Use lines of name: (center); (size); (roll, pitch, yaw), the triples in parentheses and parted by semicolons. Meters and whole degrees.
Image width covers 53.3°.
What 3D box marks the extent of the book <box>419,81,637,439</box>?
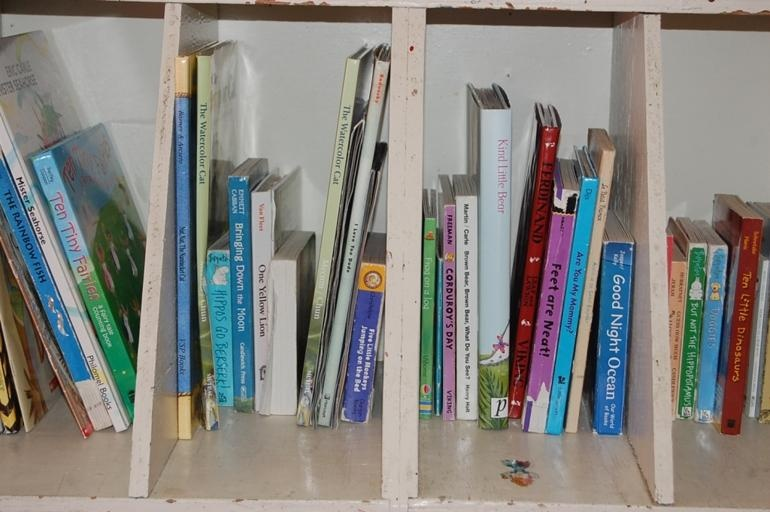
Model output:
book: (0.289, -0.008, 1.652); (0.407, 0.703, 0.279); (-1, 13, 2)
